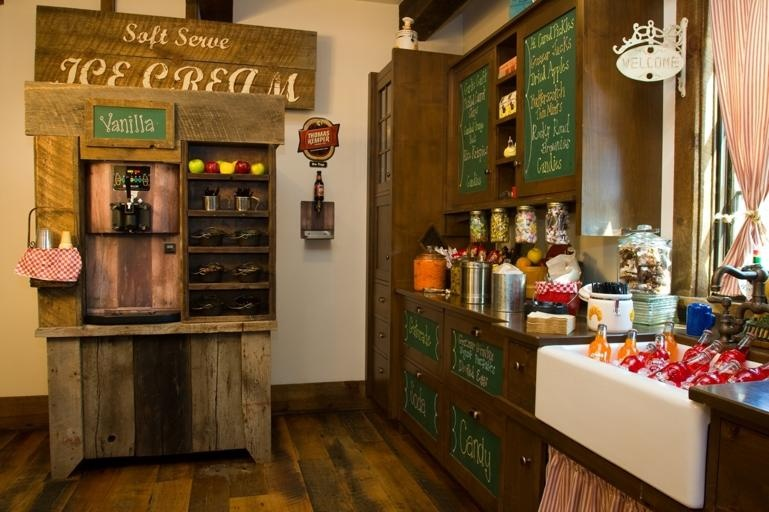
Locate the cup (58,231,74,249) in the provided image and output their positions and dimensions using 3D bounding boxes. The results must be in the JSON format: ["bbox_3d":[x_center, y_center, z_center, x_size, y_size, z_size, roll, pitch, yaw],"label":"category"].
[{"bbox_3d":[-2.119,-0.106,4.129,0.104,0.139,0.105,2,7,0],"label":"cup"}]

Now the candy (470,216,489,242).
[{"bbox_3d":[0.695,-0.204,4.647,0.172,0.270,0.171,0,1,5],"label":"candy"}]

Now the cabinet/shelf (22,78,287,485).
[{"bbox_3d":[-1.586,0.139,4.359,1.637,2.591,0.612,-1,10,-10],"label":"cabinet/shelf"}]

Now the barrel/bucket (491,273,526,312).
[{"bbox_3d":[0.776,0.239,4.021,0.227,0.254,0.225,1,-1,0],"label":"barrel/bucket"}]

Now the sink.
[{"bbox_3d":[1.046,0.718,2.738,0.588,0.380,0.844,2,1,-18],"label":"sink"}]

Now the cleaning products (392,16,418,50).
[{"bbox_3d":[0.181,-1.796,5.085,0.162,0.299,0.373,1,10,2],"label":"cleaning products"}]

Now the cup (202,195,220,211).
[{"bbox_3d":[-1.243,-0.370,4.431,0.107,0.106,0.106,1,6,0],"label":"cup"}]

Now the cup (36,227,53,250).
[{"bbox_3d":[-2.242,-0.113,4.104,0.120,0.195,0.118,0,-3,0],"label":"cup"}]

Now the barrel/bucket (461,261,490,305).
[{"bbox_3d":[0.613,0.186,4.209,0.257,0.281,0.256,1,2,0],"label":"barrel/bucket"}]

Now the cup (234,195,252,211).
[{"bbox_3d":[-1.020,-0.373,4.462,0.104,0.103,0.103,2,7,0],"label":"cup"}]
